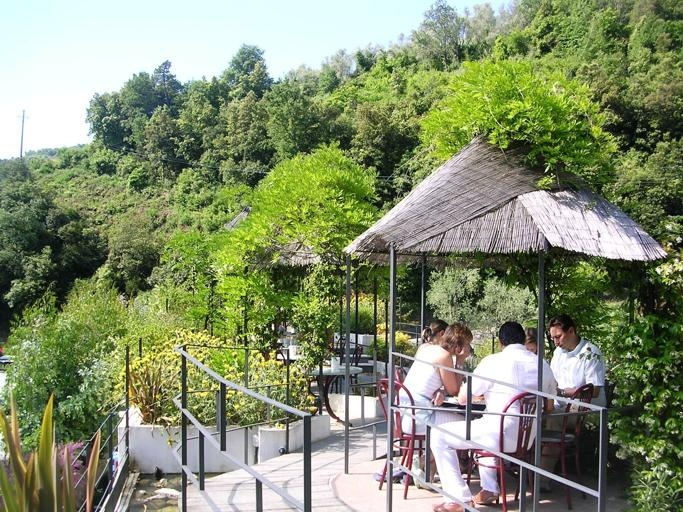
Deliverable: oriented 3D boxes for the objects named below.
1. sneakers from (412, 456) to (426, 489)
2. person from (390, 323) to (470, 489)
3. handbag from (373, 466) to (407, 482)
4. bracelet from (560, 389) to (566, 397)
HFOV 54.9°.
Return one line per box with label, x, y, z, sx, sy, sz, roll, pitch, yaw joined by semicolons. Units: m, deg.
sneakers;1.023;2.928;8.900;0.175;0.246;0.569;-2;-16;-3
person;1.304;1.977;9.127;0.912;2.225;0.778;0;11;-15
handbag;0.706;3.047;9.208;0.431;0.175;0.480;1;-5;6
bracelet;3.051;1.874;9.041;0.080;0.104;0.111;5;-28;-1
